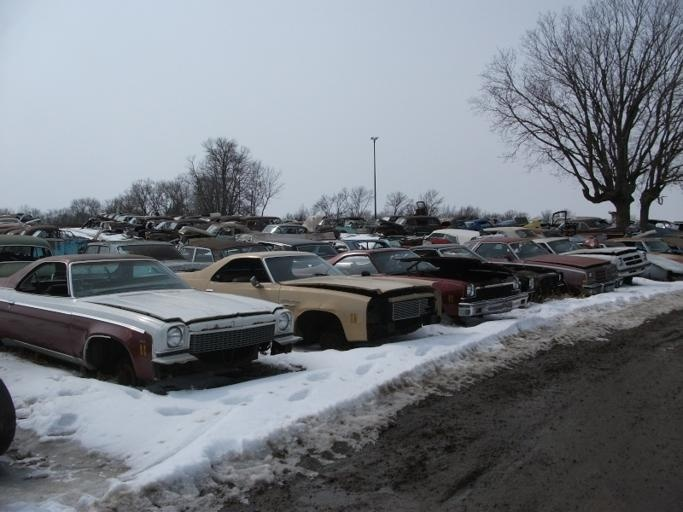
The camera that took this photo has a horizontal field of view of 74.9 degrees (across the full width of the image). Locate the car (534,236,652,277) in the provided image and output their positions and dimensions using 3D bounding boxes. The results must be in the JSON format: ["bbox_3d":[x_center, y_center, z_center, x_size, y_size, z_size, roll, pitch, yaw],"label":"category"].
[{"bbox_3d":[8.374,0.374,14.785,1.834,0.712,2.958,-8,-6,-26],"label":"car"}]

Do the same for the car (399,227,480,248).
[{"bbox_3d":[4.814,-0.927,21.379,3.400,0.824,1.605,0,1,2],"label":"car"}]

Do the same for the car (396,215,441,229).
[{"bbox_3d":[6.051,-2.590,34.622,2.767,0.918,1.343,2,1,-8],"label":"car"}]

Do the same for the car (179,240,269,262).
[{"bbox_3d":[-3.615,-0.217,12.886,2.725,0.632,1.095,0,7,24],"label":"car"}]

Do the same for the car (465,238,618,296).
[{"bbox_3d":[5.599,0.121,13.069,3.648,0.791,1.795,8,11,44],"label":"car"}]

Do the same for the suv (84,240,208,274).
[{"bbox_3d":[-5.247,-0.110,12.353,2.758,0.677,1.352,7,7,31],"label":"suv"}]

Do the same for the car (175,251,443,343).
[{"bbox_3d":[-0.828,0.590,8.060,4.104,0.919,1.812,2,4,37],"label":"car"}]
